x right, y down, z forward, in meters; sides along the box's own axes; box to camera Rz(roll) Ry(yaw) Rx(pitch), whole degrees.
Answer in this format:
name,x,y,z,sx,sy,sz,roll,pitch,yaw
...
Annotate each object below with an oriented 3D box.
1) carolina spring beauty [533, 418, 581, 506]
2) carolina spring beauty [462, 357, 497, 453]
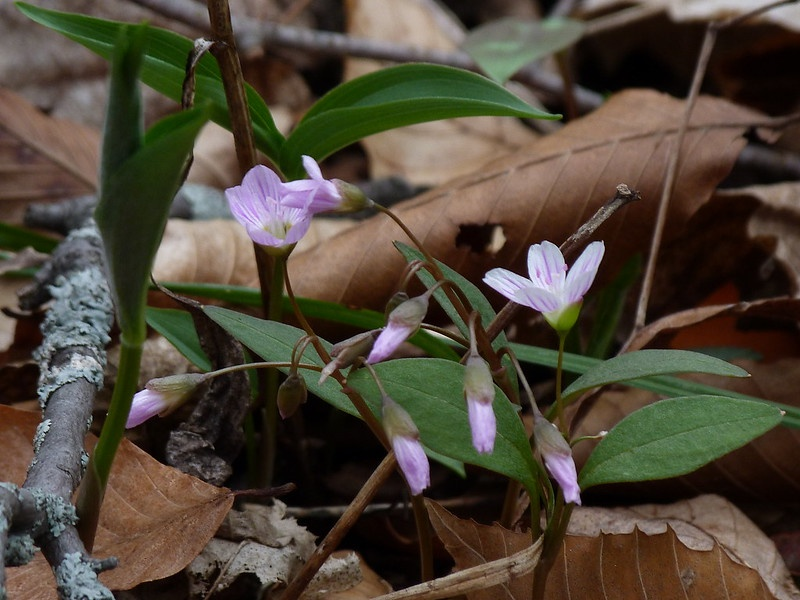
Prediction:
name,x,y,z,sx,sy,sz,roll,pitch,yaw
carolina spring beauty,0.247,0.257,1.389,0.052,0.056,0.172,-12,63,-9
carolina spring beauty,0.126,0.175,1.333,0.051,0.046,0.199,-25,43,26
